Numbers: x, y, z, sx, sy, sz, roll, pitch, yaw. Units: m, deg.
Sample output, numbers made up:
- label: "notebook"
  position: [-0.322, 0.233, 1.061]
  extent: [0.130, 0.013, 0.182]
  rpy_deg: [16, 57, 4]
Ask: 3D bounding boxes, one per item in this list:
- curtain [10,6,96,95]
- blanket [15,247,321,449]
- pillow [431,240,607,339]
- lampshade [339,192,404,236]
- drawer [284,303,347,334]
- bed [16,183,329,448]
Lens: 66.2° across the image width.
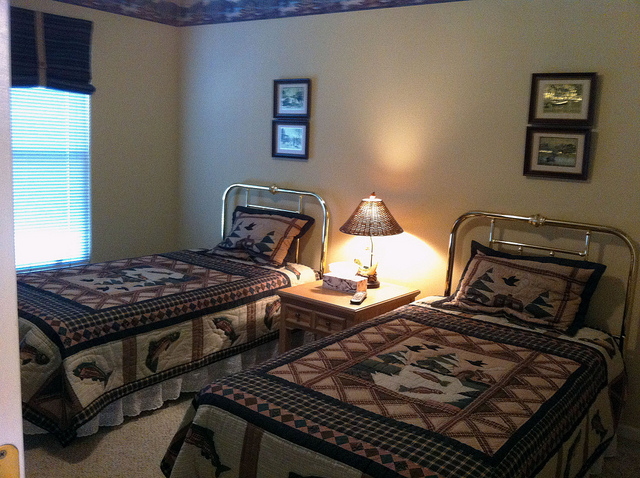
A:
- label: "curtain"
  position: [-2.227, -1.565, 4.118]
  extent: [0.111, 0.622, 0.675]
  rpy_deg: [12, 15, 35]
- label: "blanket"
  position: [-1.312, 0.556, 3.829]
  extent: [1.683, 0.634, 2.534]
  rpy_deg: [6, 8, 30]
- label: "pillow"
  position: [1.264, 0.248, 3.021]
  extent: [0.908, 0.462, 0.451]
  rpy_deg: [11, 10, 41]
- label: "lampshade"
  position: [0.375, -0.177, 3.556]
  extent: [0.298, 0.291, 0.338]
  rpy_deg: [-9, 17, -44]
- label: "drawer"
  position: [0.016, 0.490, 3.410]
  extent: [0.390, 0.177, 0.389]
  rpy_deg: [5, 10, 36]
- label: "bed"
  position: [-1.088, 0.352, 4.165]
  extent: [3.087, 1.414, 1.950]
  rpy_deg: [6, 12, -16]
